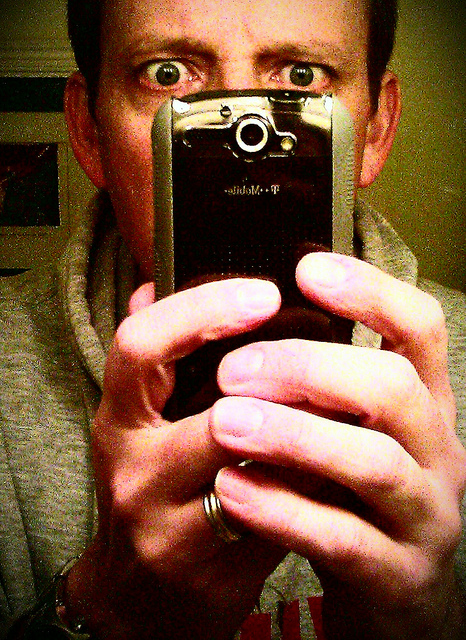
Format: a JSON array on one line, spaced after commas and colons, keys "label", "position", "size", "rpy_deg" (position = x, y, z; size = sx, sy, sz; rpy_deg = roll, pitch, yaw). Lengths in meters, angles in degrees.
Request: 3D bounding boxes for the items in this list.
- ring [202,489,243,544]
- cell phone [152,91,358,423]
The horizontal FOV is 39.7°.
[{"label": "ring", "position": [-0.010, 0.138, 0.446], "size": [0.012, 0.029, 0.040], "rpy_deg": [-20, 99, 4]}, {"label": "cell phone", "position": [0.014, -0.040, 0.450], "size": [0.133, 0.149, 0.164], "rpy_deg": [0, 58, 4]}]
